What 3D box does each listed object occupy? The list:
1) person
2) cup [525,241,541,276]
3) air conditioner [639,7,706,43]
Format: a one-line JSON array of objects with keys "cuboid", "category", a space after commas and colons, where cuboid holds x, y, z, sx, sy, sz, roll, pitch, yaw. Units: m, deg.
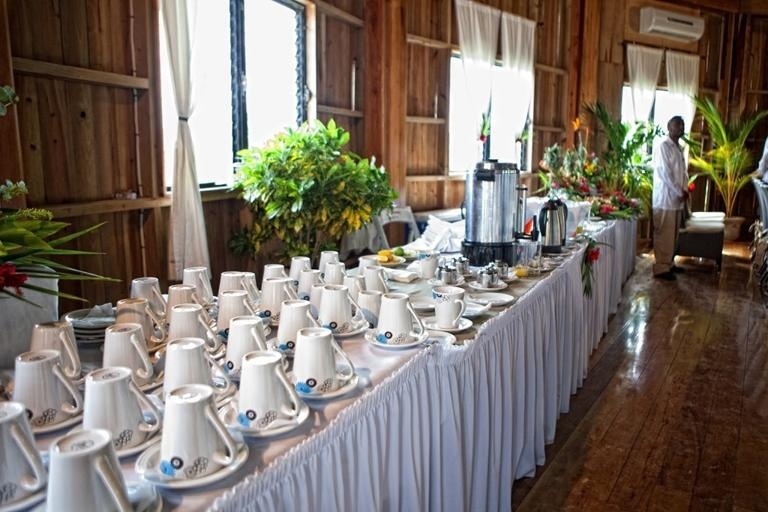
[{"cuboid": [3.214, -0.651, 6.224, 0.391, 1.799, 0.433, 8, 15, 29], "category": "person"}, {"cuboid": [0.797, 0.005, 2.926, 0.094, 0.171, 0.099, 0, 5, 0], "category": "cup"}, {"cuboid": [4.097, -3.323, 7.862, 1.018, 0.421, 0.318, -5, 15, -24], "category": "air conditioner"}]
